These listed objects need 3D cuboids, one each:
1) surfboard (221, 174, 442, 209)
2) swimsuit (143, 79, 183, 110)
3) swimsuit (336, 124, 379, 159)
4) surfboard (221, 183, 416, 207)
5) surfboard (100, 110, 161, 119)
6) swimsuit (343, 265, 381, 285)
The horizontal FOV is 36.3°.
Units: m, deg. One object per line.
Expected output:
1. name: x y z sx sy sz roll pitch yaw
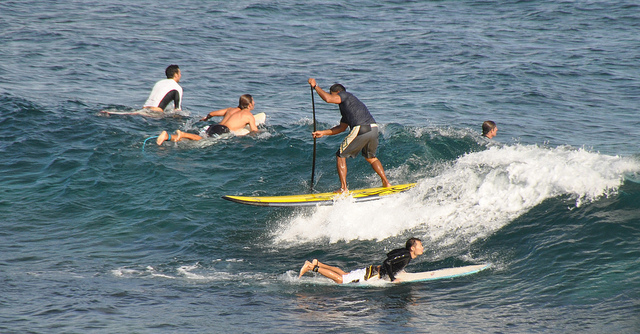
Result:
1. surfboard: 0.142 1.247 41.652 8.462 1.319 0.767 -4 70 -5
2. swimsuit: -7.281 -3.404 46.058 1.555 0.580 1.394 24 88 24
3. swimsuit: 1.663 -1.047 41.692 1.877 1.390 0.818 -5 38 -22
4. surfboard: 0.007 1.355 41.794 7.591 0.876 0.711 -4 69 -5
5. surfboard: -8.952 -2.434 46.058 2.431 0.299 0.258 6 90 -5
6. swimsuit: 1.658 4.372 39.184 1.411 0.717 0.427 -7 106 -7
